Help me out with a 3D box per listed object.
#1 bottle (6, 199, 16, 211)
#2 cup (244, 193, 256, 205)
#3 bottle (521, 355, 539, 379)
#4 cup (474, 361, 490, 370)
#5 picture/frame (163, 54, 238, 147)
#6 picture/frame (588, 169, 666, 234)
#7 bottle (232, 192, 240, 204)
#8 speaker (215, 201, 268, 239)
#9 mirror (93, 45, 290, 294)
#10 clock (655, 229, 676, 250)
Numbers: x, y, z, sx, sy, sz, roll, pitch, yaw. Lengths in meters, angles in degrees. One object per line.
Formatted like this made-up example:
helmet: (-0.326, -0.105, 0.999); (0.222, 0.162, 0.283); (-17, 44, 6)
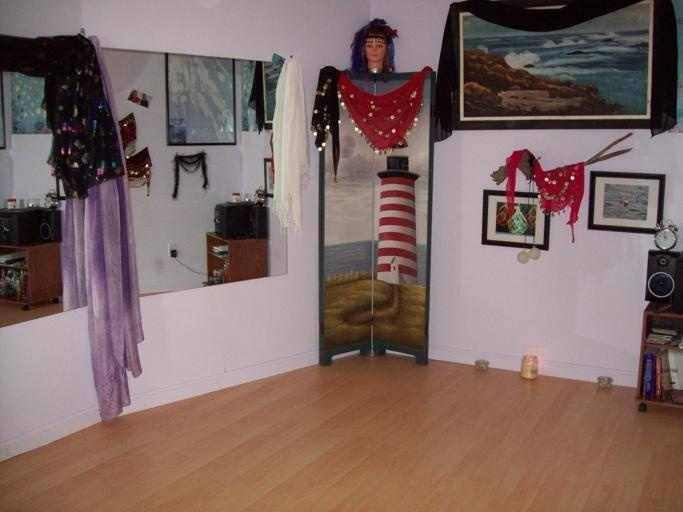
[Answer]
bottle: (-2.264, -0.364, 3.669); (0.055, 0.068, 0.058); (1, 2, -21)
cup: (-0.802, -0.496, 4.670); (0.080, 0.099, 0.083); (1, 8, 0)
bottle: (1.768, 1.044, 5.035); (0.141, 0.199, 0.124); (4, 15, 15)
cup: (1.373, 1.065, 5.236); (0.134, 0.101, 0.078); (1, -1, 16)
picture/frame: (-1.192, -1.286, 4.387); (0.713, 1.031, 0.034); (-3, 3, -35)
picture/frame: (2.522, -0.500, 4.682); (0.495, 0.525, 0.041); (5, 13, 19)
bottle: (-0.911, -0.509, 4.609); (0.068, 0.083, 0.072); (0, 4, -7)
speaker: (-0.874, -0.326, 4.675); (0.336, 0.322, 0.340); (-1, 9, -25)
mirror: (-1.276, -0.779, 4.373); (1.755, 2.657, 0.034); (-7, 16, -25)
clock: (2.738, -0.141, 4.474); (0.213, 0.173, 0.109); (-3, 15, -11)
